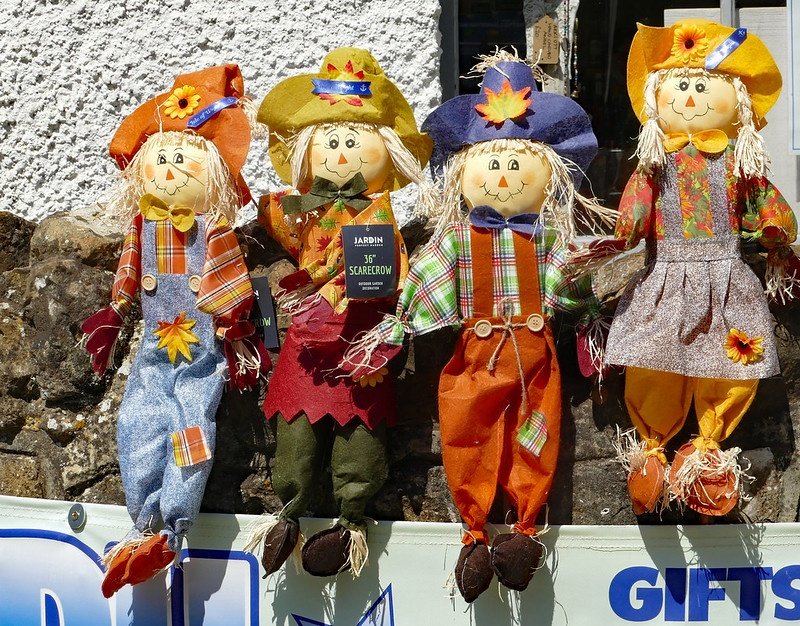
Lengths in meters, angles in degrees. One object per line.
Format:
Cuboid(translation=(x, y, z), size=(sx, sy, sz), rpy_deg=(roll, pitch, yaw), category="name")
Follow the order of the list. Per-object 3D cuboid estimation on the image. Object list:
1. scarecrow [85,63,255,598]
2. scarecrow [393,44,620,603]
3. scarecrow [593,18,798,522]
Cuboid(translation=(-0.779, 0.032, 3.949), size=(0.670, 1.813, 0.498), rpy_deg=(-5, 8, -13), category="scarecrow")
Cuboid(translation=(0.345, 0.039, 3.857), size=(0.699, 1.810, 0.434), rpy_deg=(-11, 11, -43), category="scarecrow")
Cuboid(translation=(1.008, -0.143, 3.817), size=(0.714, 1.724, 0.403), rpy_deg=(-2, 8, 8), category="scarecrow")
